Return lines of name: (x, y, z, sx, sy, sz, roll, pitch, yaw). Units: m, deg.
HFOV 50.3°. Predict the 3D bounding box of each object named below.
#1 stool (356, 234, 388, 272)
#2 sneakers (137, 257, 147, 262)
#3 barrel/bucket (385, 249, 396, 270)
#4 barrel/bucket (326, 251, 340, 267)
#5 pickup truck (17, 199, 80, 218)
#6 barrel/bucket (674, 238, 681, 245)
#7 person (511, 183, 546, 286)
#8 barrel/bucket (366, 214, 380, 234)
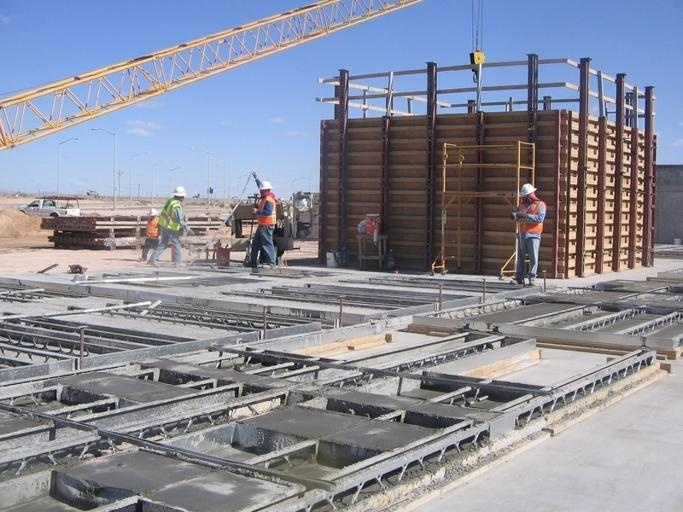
stool: (0.927, -0.151, 21.989, 0.701, 1.045, 0.984, -7, 13, -44)
sneakers: (-6.718, 0.119, 24.541, 0.147, 0.154, 0.445, -3, 4, -35)
barrel/bucket: (1.488, 0.122, 21.640, 0.345, 0.546, 0.598, 3, 9, 4)
barrel/bucket: (-0.347, 0.110, 22.292, 0.436, 0.476, 0.554, -1, -3, 22)
pickup truck: (-19.561, -3.283, 48.592, 3.404, 1.140, 3.971, -3, 10, -26)
barrel/bucket: (19.121, -0.827, 41.420, 0.409, 0.342, 0.221, -4, -11, 36)
person: (4.530, -0.521, 17.621, 0.729, 2.388, 1.105, -1, 10, -17)
barrel/bucket: (0.921, -0.927, 21.638, 0.425, 0.625, 0.486, 2, 9, 1)
